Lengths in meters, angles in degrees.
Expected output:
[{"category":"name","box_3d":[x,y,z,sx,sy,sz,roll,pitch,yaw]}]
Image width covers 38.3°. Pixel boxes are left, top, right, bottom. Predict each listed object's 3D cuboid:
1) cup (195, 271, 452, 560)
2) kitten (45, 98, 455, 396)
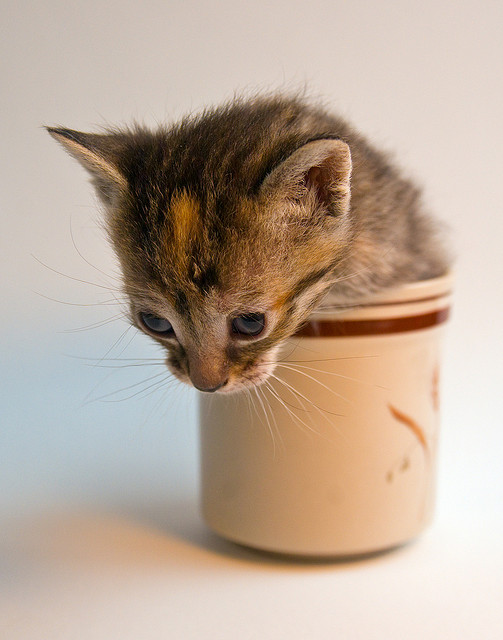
[{"category":"cup","box_3d":[0.129,0.141,1.234,0.482,0.421,0.462,-1,-2,0]},{"category":"kitten","box_3d":[0.054,-0.223,1.181,0.528,0.367,0.632,11,47,24]}]
